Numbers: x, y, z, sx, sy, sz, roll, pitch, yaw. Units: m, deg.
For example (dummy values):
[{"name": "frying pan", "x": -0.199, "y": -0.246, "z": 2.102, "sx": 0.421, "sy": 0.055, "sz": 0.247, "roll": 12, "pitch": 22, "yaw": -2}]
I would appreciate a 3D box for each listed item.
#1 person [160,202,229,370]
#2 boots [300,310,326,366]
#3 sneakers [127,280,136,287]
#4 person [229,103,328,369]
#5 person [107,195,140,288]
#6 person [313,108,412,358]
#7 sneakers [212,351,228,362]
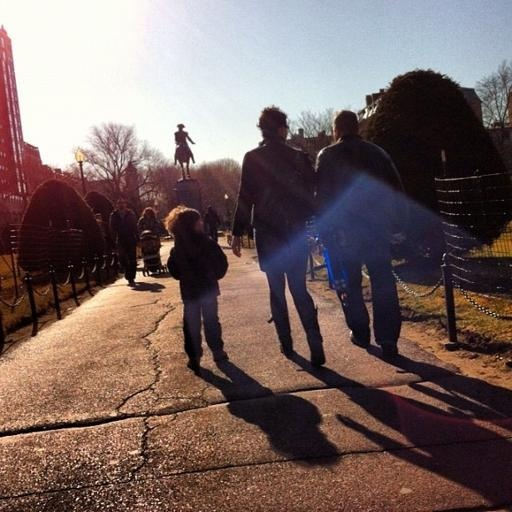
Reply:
[{"name": "person", "x": -0.588, "y": 0.273, "z": 4.015, "sx": 0.615, "sy": 1.211, "sz": 0.627, "roll": -2, "pitch": -1, "yaw": -21}, {"name": "boots", "x": 0.538, "y": 0.766, "z": 3.684, "sx": 0.212, "sy": 0.469, "sz": 0.256, "roll": -3, "pitch": -1, "yaw": 9}, {"name": "sneakers", "x": -3.814, "y": 0.847, "z": 11.898, "sx": 0.234, "sy": 0.251, "sz": 0.218, "roll": -2, "pitch": -13, "yaw": 5}, {"name": "person", "x": 0.215, "y": -0.235, "z": 4.088, "sx": 0.778, "sy": 2.576, "sz": 0.940, "roll": -4, "pitch": -2, "yaw": -8}, {"name": "person", "x": -4.204, "y": -0.471, "z": 12.498, "sx": 0.811, "sy": 2.705, "sz": 1.439, "roll": -2, "pitch": -1, "yaw": -26}, {"name": "person", "x": 1.076, "y": -0.297, "z": 4.016, "sx": 0.869, "sy": 2.352, "sz": 0.539, "roll": -3, "pitch": -1, "yaw": 22}, {"name": "sneakers", "x": -0.374, "y": 1.052, "z": 4.063, "sx": 0.117, "sy": 0.110, "sz": 0.099, "roll": 0, "pitch": -2, "yaw": -5}]
